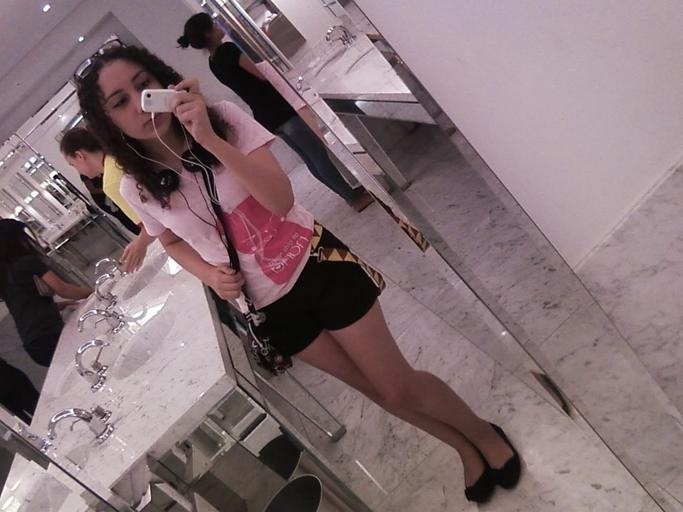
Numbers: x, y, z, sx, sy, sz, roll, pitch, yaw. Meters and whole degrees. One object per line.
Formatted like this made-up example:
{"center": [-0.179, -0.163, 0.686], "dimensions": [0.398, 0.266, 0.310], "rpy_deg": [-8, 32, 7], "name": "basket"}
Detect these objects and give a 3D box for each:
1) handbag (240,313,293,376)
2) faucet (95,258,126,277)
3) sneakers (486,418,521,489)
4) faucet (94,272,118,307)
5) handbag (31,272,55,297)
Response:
{"center": [-0.170, 0.193, 1.258], "dimensions": [0.112, 0.158, 0.062], "rpy_deg": [-23, 10, 40], "name": "handbag"}
{"center": [-0.934, 0.035, 2.010], "dimensions": [0.086, 0.087, 0.029], "rpy_deg": [3, 1, -6], "name": "faucet"}
{"center": [0.425, 0.496, 1.296], "dimensions": [0.080, 0.153, 0.060], "rpy_deg": [-37, -26, 31], "name": "sneakers"}
{"center": [-0.975, 0.136, 2.075], "dimensions": [0.081, 0.043, 0.140], "rpy_deg": [-63, 9, -18], "name": "faucet"}
{"center": [-1.162, 0.116, 1.960], "dimensions": [0.020, 0.065, 0.069], "rpy_deg": [-19, 4, 10], "name": "handbag"}
